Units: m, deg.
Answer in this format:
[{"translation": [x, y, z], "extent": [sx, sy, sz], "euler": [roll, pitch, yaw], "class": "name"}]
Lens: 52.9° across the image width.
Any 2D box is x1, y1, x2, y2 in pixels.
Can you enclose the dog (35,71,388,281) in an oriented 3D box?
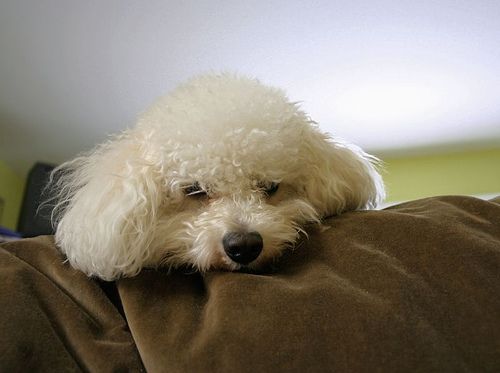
[{"translation": [-0.087, -0.051, 1.704], "extent": [1.106, 0.607, 0.696], "euler": [-8, 29, -17], "class": "dog"}]
